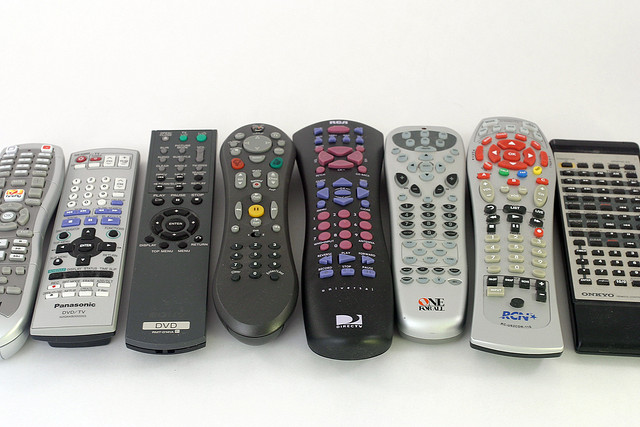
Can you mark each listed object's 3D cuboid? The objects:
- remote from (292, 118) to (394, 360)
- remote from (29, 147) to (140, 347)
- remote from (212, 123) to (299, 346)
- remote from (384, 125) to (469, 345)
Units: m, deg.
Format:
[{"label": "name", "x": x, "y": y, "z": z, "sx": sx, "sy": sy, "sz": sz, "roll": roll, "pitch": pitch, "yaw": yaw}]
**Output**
[{"label": "remote", "x": 0.050, "y": 0.031, "z": 0.968, "sx": 0.181, "sy": 0.414, "sz": 0.299, "roll": -3, "pitch": 8, "yaw": -2}, {"label": "remote", "x": -0.417, "y": 0.054, "z": 0.958, "sx": 0.132, "sy": 0.346, "sz": 0.073, "roll": -2, "pitch": -31, "yaw": -1}, {"label": "remote", "x": -0.117, "y": 0.024, "z": 0.942, "sx": 0.137, "sy": 0.377, "sz": 0.110, "roll": -1, "pitch": -31, "yaw": -6}, {"label": "remote", "x": 0.192, "y": 0.022, "z": 0.982, "sx": 0.148, "sy": 0.374, "sz": 0.262, "roll": -1, "pitch": 8, "yaw": 13}]
